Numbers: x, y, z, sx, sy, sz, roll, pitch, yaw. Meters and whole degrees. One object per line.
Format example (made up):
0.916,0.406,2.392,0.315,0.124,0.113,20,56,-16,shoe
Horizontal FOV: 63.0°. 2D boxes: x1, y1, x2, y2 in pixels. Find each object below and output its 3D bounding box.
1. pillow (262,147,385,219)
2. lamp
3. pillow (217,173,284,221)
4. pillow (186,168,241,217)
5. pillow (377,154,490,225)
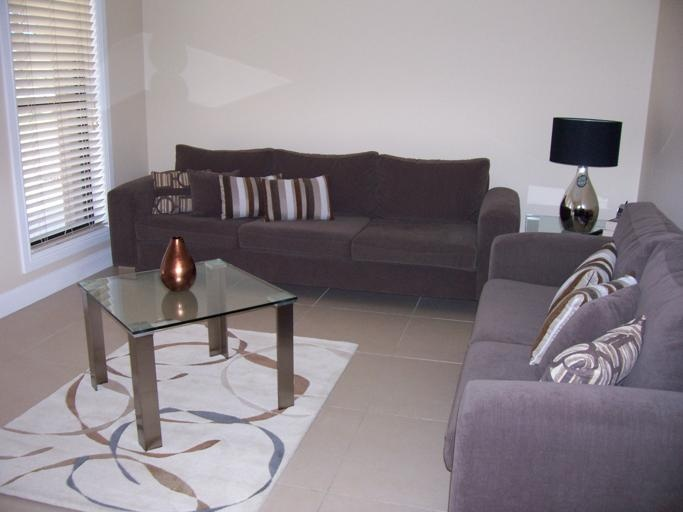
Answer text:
-0.126,-0.526,4.580,1.020,0.639,0.233,1,6,-22,pillow
1.651,-0.560,3.863,0.369,0.768,0.358,-5,20,-16,lamp
-0.717,-0.467,4.484,0.504,0.363,0.186,-4,6,-26,pillow
-1.080,-0.497,4.414,0.341,0.345,0.105,1,-1,2,pillow
0.697,-0.534,4.490,0.980,0.579,0.283,4,16,15,pillow
